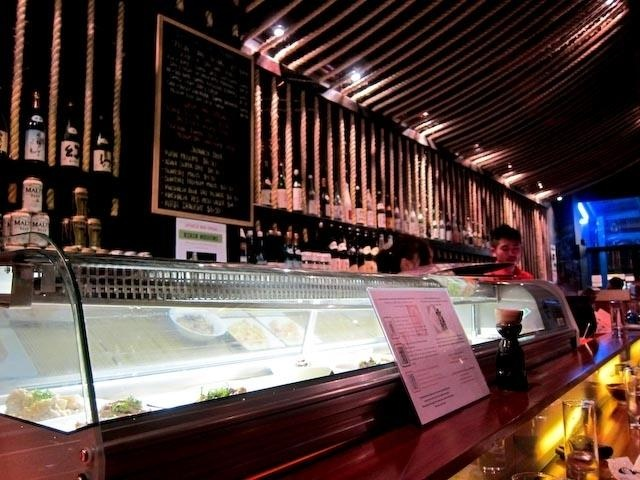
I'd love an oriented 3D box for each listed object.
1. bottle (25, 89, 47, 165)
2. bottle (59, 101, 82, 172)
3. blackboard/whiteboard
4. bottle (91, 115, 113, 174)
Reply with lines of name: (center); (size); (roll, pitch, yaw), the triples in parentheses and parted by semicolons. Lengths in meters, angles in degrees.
bottle: (-1.681, -0.668, 2.476); (0.108, 0.476, 0.221); (-3, -8, -32)
bottle: (-1.550, -0.655, 2.605); (0.114, 0.463, 0.166); (-3, -7, -28)
blackboard/whiteboard: (-0.844, -0.837, 3.138); (0.171, 1.442, 0.848); (-14, -10, 44)
bottle: (-1.419, -0.623, 2.734); (0.119, 0.425, 0.209); (-4, -7, -25)
